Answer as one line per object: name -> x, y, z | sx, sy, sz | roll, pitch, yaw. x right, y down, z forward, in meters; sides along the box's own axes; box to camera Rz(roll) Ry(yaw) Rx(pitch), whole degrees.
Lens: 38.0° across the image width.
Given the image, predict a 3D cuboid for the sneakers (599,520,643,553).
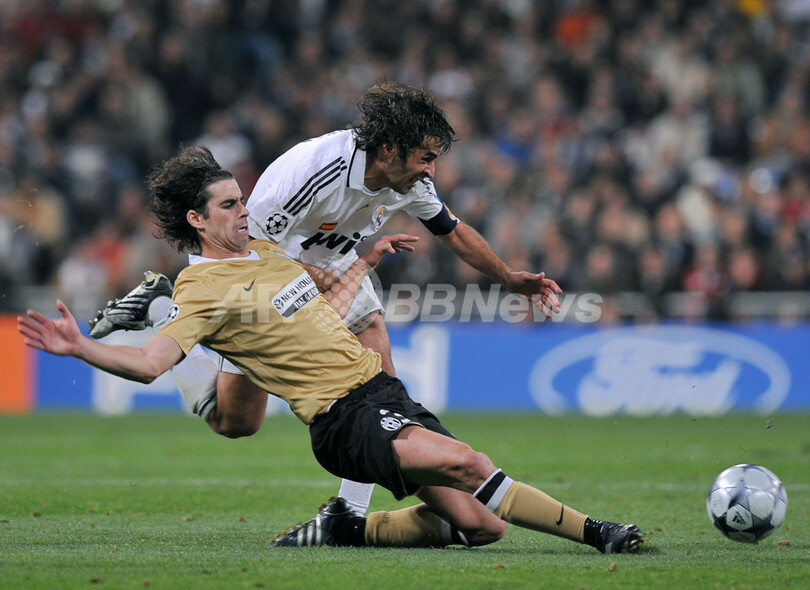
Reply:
sneakers -> 1.452, 1.646, 7.930 | 0.160, 0.159, 0.315 | -12, -2, -14
